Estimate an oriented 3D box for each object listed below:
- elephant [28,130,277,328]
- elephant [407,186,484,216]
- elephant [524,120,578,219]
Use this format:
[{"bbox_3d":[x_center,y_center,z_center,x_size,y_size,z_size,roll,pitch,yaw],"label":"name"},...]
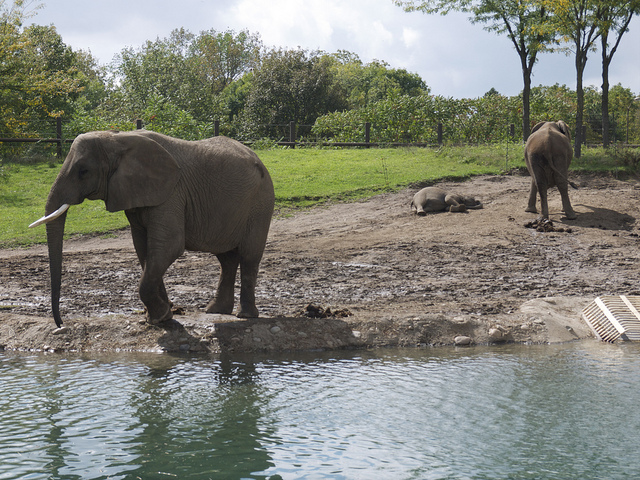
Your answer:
[{"bbox_3d":[-2.849,-0.216,14.946,4.503,3.101,2.119,-1,1,-30],"label":"elephant"},{"bbox_3d":[3.362,-1.057,23.840,1.861,0.692,1.209,-1,5,5],"label":"elephant"},{"bbox_3d":[6.238,-1.914,23.636,1.308,2.524,4.411,0,9,17],"label":"elephant"}]
